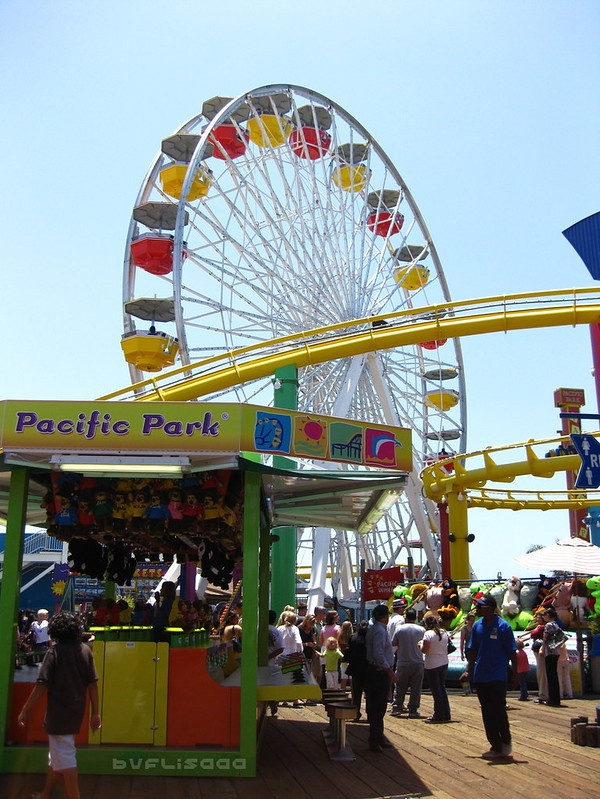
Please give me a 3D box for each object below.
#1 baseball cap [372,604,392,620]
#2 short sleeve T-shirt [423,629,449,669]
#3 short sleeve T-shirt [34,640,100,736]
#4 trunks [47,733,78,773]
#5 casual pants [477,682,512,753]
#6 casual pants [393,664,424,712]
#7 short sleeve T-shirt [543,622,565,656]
[{"bbox_3d":[0.740,1.941,6.437,0.127,0.152,0.149,3,2,14],"label":"baseball cap"},{"bbox_3d":[1.535,2.860,8.105,0.464,0.422,0.242,11,-25,-29],"label":"short sleeve T-shirt"},{"bbox_3d":[-1.248,1.568,3.844,0.196,0.455,0.354,-11,-14,40],"label":"short sleeve T-shirt"},{"bbox_3d":[-1.254,1.866,3.752,0.126,0.209,0.160,2,-11,-21],"label":"trunks"},{"bbox_3d":[1.542,2.539,5.688,0.235,0.568,0.303,-5,-11,19],"label":"casual pants"},{"bbox_3d":[1.248,3.306,8.262,0.337,0.667,0.207,3,2,-5],"label":"casual pants"},{"bbox_3d":[3.215,3.069,9.068,0.229,0.391,0.320,-8,-12,30],"label":"short sleeve T-shirt"}]
